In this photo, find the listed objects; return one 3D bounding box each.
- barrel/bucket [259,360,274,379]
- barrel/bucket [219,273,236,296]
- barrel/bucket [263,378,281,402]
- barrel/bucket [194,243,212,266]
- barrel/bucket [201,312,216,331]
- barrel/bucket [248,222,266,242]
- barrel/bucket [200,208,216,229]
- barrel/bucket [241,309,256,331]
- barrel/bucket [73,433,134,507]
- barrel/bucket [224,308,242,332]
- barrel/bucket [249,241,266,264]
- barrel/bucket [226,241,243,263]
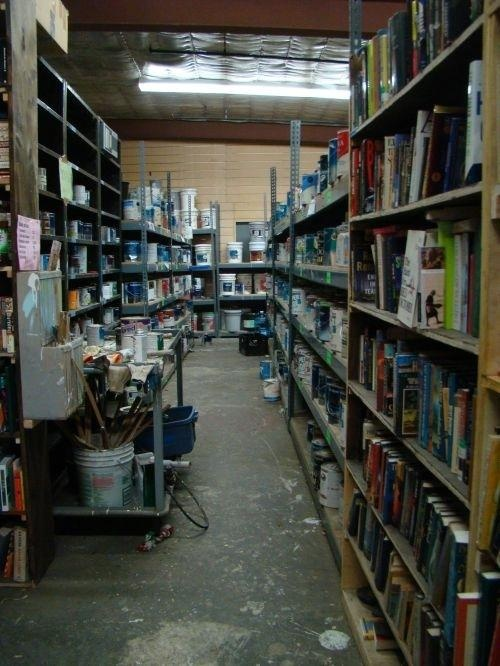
[{"bbox_3d":[0.162,0.420,6.228,0.172,0.272,0.177,2,1,0],"label":"barrel/bucket"},{"bbox_3d":[-0.378,-0.810,9.051,0.317,0.330,0.318,0,7,0],"label":"barrel/bucket"},{"bbox_3d":[0.206,0.553,5.244,0.169,0.197,0.191,0,-4,1],"label":"barrel/bucket"},{"bbox_3d":[-0.767,-1.333,9.149,0.321,0.335,0.326,0,6,0],"label":"barrel/bucket"},{"bbox_3d":[-0.708,-0.200,9.410,0.200,0.324,0.216,0,6,0],"label":"barrel/bucket"},{"bbox_3d":[0.137,-1.673,8.963,0.295,0.304,0.294,0,8,0],"label":"barrel/bucket"},{"bbox_3d":[-0.692,-1.937,9.290,0.331,0.358,0.338,0,2,0],"label":"barrel/bucket"},{"bbox_3d":[-0.016,-0.187,8.628,0.268,0.385,0.258,0,-3,0],"label":"barrel/bucket"},{"bbox_3d":[-0.706,0.669,2.708,0.279,0.281,0.276,0,0,0],"label":"barrel/bucket"},{"bbox_3d":[-0.299,-0.225,9.538,0.338,0.370,0.346,0,6,0],"label":"barrel/bucket"},{"bbox_3d":[0.079,-1.352,9.076,0.308,0.328,0.311,0,2,0],"label":"barrel/bucket"},{"bbox_3d":[-0.264,-1.384,9.379,0.255,0.356,0.370,-1,6,-6],"label":"barrel/bucket"}]
